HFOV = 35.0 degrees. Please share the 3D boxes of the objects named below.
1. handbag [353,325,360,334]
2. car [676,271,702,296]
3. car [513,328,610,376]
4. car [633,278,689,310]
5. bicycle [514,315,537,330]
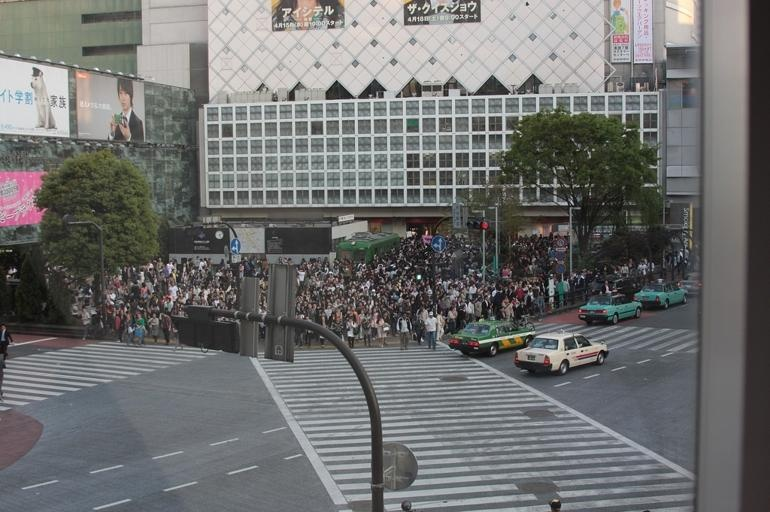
[{"bbox_3d":[-1.900,5.069,84.817,0.136,0.579,0.489,-1,1,45],"label":"handbag"},{"bbox_3d":[13.995,1.213,55.915,0.796,0.716,1.817,-1,7,17],"label":"car"},{"bbox_3d":[11.351,6.300,78.837,5.867,2.050,1.094,-3,1,-19],"label":"car"},{"bbox_3d":[18.621,2.618,82.035,1.851,1.544,4.121,4,10,45],"label":"car"},{"bbox_3d":[10.059,4.753,86.377,1.587,1.054,0.796,-7,10,-28],"label":"bicycle"}]
